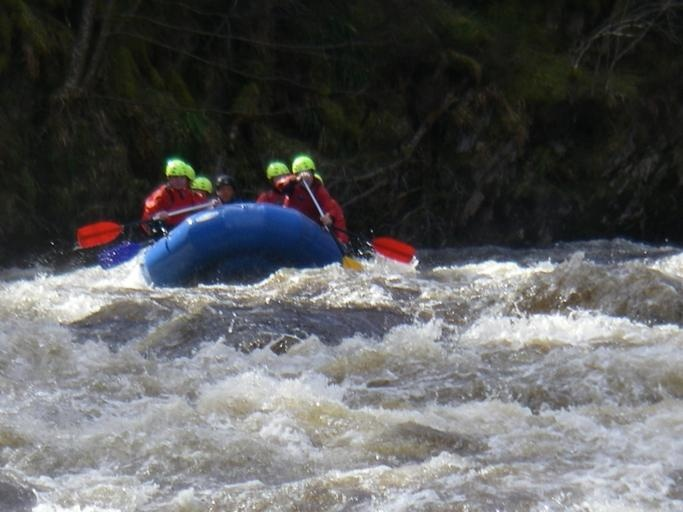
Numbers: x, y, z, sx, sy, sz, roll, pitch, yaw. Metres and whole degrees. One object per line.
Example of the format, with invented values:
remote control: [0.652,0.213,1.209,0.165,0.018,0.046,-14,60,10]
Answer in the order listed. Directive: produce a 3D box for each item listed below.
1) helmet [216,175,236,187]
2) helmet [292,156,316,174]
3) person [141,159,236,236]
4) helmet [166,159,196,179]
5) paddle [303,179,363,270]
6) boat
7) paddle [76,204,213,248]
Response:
helmet: [-1.749,-1.136,22.054,0.214,0.167,0.215,2,13,7]
helmet: [-0.577,-1.426,22.743,0.276,0.343,0.361,-6,-14,-9]
person: [-2.426,-0.905,22.707,1.016,1.642,0.814,-17,8,-40]
helmet: [-2.517,-1.350,22.694,0.382,0.345,0.290,-7,18,-35]
paddle: [-0.162,-0.519,22.803,0.301,1.812,0.079,-30,-18,-7]
boat: [-1.505,-0.329,21.619,2.541,0.907,2.140,-21,-3,13]
paddle: [-3.044,-0.493,22.568,2.242,0.410,0.151,-16,23,-28]
